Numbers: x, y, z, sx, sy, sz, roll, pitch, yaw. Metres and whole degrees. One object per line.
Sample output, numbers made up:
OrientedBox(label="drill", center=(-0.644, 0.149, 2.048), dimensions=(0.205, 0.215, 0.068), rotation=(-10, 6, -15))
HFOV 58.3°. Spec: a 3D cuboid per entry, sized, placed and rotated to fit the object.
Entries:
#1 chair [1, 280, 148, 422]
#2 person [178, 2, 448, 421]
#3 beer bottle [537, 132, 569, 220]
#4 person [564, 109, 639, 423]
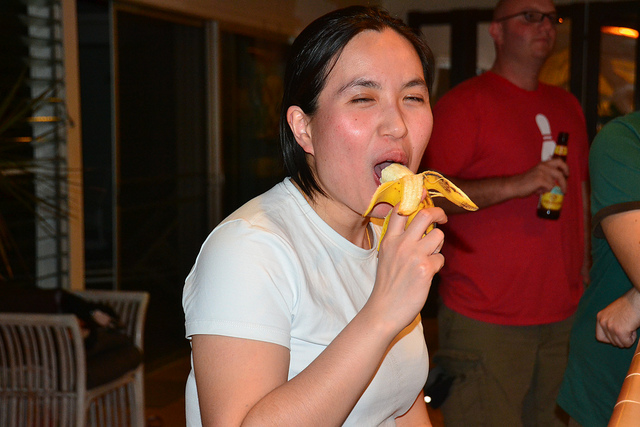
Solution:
OrientedBox(label="chair", center=(-1.479, 0.884, 3.519), dimensions=(0.567, 0.809, 0.858), rotation=(1, 0, 28))
OrientedBox(label="person", center=(-0.029, -0.039, 2.033), dimensions=(0.852, 1.436, 0.449), rotation=(1, 0, -14))
OrientedBox(label="beer bottle", center=(1.374, -0.220, 3.323), dimensions=(0.152, 0.519, 0.146), rotation=(11, -1, 0))
OrientedBox(label="person", center=(1.272, 0.241, 2.535), dimensions=(0.203, 1.398, 0.400), rotation=(1, 0, -18))
